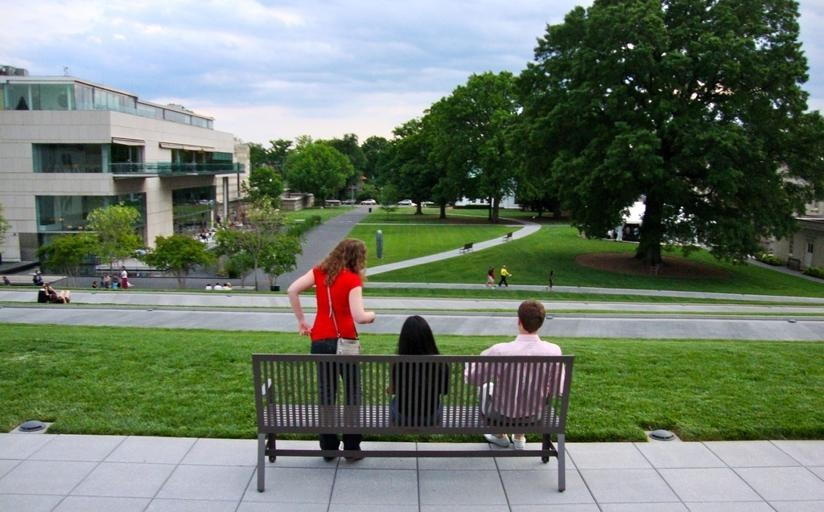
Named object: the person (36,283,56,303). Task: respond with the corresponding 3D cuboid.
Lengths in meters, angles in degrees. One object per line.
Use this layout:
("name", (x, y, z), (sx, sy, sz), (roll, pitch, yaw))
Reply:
("person", (-15.585, 1.569, 29.971), (0.718, 0.791, 0.439), (1, 6, -18))

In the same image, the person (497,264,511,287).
("person", (5.309, 1.167, 40.839), (0.792, 1.413, 0.605), (-14, 29, -20))

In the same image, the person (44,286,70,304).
("person", (-14.516, 1.624, 28.979), (0.926, 0.505, 1.069), (5, -1, -19))

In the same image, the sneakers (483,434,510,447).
("sneakers", (1.851, 3.973, 15.277), (0.548, 0.201, 0.288), (6, 2, 23))
